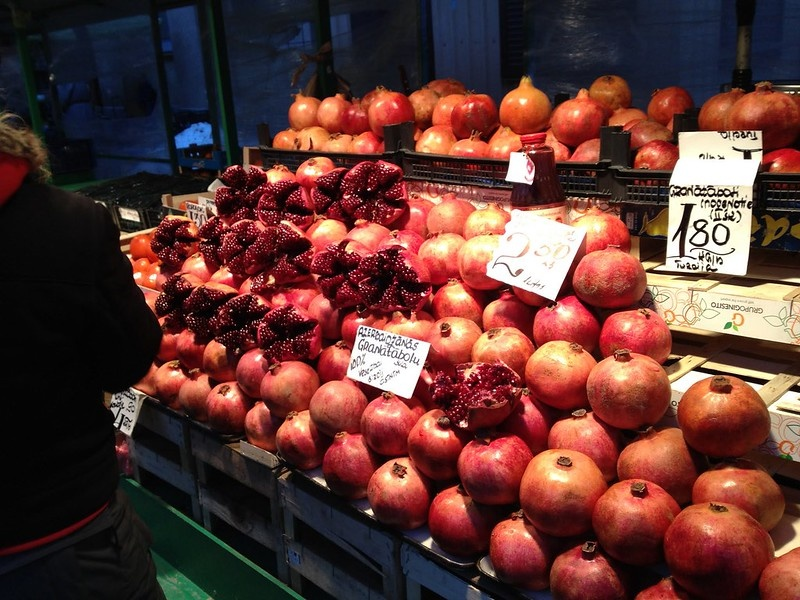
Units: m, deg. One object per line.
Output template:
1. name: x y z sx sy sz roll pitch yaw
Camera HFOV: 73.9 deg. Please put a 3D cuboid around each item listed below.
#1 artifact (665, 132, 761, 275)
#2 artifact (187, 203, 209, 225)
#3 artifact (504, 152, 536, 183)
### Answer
1. artifact: 1.240 -0.404 2.139 0.315 0.538 0.305 6 13 24
2. artifact: -1.477 -0.637 3.918 0.037 0.155 0.252 -13 28 -38
3. artifact: 0.546 -0.595 2.414 0.144 0.143 0.044 9 7 41
